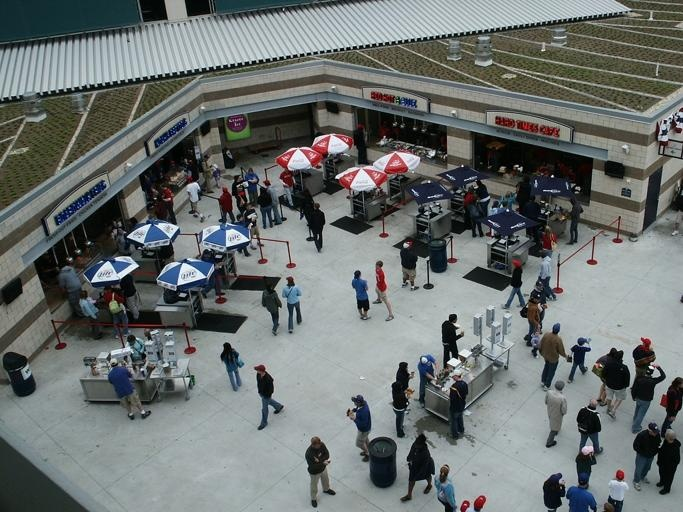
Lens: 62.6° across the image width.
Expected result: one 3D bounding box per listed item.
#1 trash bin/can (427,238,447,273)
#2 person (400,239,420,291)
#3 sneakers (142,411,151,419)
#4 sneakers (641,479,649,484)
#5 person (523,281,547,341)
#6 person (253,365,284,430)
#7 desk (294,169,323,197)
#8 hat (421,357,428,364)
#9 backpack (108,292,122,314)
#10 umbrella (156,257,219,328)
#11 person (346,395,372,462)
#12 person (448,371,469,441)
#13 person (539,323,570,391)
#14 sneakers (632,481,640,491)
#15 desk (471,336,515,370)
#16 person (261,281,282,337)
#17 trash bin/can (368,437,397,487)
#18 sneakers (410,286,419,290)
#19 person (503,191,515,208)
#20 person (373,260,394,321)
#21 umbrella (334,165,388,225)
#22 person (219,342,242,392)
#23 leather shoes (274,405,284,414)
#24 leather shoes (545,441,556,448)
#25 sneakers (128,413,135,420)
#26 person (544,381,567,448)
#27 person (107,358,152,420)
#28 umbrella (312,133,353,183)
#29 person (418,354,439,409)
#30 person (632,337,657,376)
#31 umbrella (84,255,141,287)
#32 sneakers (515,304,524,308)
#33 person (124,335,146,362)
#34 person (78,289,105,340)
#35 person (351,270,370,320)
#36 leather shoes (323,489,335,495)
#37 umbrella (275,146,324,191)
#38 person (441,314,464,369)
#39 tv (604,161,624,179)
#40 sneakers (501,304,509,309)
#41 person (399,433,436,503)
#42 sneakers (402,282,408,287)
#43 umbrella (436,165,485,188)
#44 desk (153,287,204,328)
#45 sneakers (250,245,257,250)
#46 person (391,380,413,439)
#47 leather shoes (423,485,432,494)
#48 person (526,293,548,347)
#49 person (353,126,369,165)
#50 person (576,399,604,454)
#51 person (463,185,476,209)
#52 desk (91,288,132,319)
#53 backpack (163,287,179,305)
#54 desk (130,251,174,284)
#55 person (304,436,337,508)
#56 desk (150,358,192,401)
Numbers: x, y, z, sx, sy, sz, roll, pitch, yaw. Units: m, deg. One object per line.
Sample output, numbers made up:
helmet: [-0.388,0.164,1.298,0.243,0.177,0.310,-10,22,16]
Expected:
trash bin/can: [3.886,0.022,22.913,0.929,1.407,0.903,-9,28,-7]
person: [2.628,0.348,21.953,0.650,1.973,0.709,-6,28,-6]
sneakers: [-6.241,5.041,17.996,0.144,0.134,0.315,28,46,32]
sneakers: [7.941,5.878,14.722,0.224,0.089,0.081,13,38,41]
person: [6.562,1.933,19.143,0.784,1.960,0.761,1,65,21]
person: [-2.253,4.089,17.134,0.839,2.123,1.069,-6,28,-6]
desk: [-1.832,-3.905,30.115,1.368,1.351,1.430,21,30,40]
hat: [2.417,3.071,16.553,0.190,0.141,0.178,26,72,-17]
backpack: [-8.309,1.796,20.640,0.455,0.706,0.724,-6,12,-16]
umbrella: [-5.673,0.705,20.648,1.924,0.687,1.225,-12,29,-18]
person: [0.479,4.947,15.842,0.705,2.048,0.813,-8,44,-3]
person: [3.300,4.232,16.055,0.507,2.042,0.662,3,29,11]
person: [6.309,3.116,17.051,0.725,2.210,0.487,6,29,15]
sneakers: [7.603,5.952,14.579,0.083,0.104,0.247,-7,15,4]
desk: [4.848,3.139,18.044,0.536,0.737,0.790,-33,45,-31]
person: [-2.508,1.741,20.513,0.640,2.170,0.952,-7,28,-8]
trash bin/can: [1.094,5.524,15.019,0.895,0.925,0.891,8,33,21]
sneakers: [2.880,1.241,22.239,0.279,0.113,0.113,-6,31,-5]
person: [7.457,-2.508,25.169,0.369,0.772,0.819,5,44,30]
person: [1.585,1.423,21.638,0.763,1.928,0.983,-18,56,-5]
umbrella: [1.008,-3.098,26.456,2.284,1.456,2.214,-4,44,3]
person: [-3.595,3.536,18.311,0.614,1.647,0.589,-23,29,-34]
leather shoes: [-1.925,4.766,17.555,0.181,0.146,0.359,16,36,36]
leather shoes: [5.875,5.254,15.826,0.325,0.133,0.116,-19,46,-11]
sneakers: [-6.675,5.127,17.972,0.116,0.106,0.265,-6,36,-26]
person: [5.878,4.265,15.568,0.537,2.141,0.778,9,30,21]
person: [-6.693,4.230,17.731,1.066,1.972,0.626,13,32,27]
umbrella: [-0.389,-5.493,29.643,1.704,1.133,1.633,7,47,7]
person: [2.559,3.774,16.971,0.494,1.786,0.615,1,28,6]
person: [8.747,3.174,16.392,0.612,1.497,0.579,-3,19,21]
umbrella: [-8.661,0.573,20.989,1.271,0.494,1.290,5,38,35]
sneakers: [6.577,1.840,20.843,0.288,0.114,0.104,4,47,20]
person: [-6.748,3.040,18.654,0.506,1.085,0.773,-15,30,-21]
person: [-9.454,2.114,21.311,0.557,2.079,1.015,-16,31,-24]
person: [0.706,1.377,20.510,0.569,2.159,0.413,-5,28,-3]
leather shoes: [-0.330,6.336,15.097,0.297,0.200,0.119,-6,47,2]
umbrella: [-2.057,-4.417,28.894,2.369,0.974,2.296,-6,36,-4]
person: [3.521,2.765,17.966,0.696,1.833,0.649,11,24,37]
tv: [11.385,-3.635,23.549,0.634,0.611,0.226,29,53,33]
sneakers: [6.014,1.881,20.811,0.208,0.115,0.212,-24,47,32]
person: [1.932,5.342,14.478,0.855,2.191,0.630,-4,28,-2]
sneakers: [2.503,1.131,22.414,0.104,0.119,0.261,9,36,22]
umbrella: [5.245,-3.632,25.332,1.301,0.541,1.262,-26,46,-24]
desk: [-6.203,1.907,21.535,1.383,1.329,1.789,5,43,6]
sneakers: [-4.044,-0.401,25.971,0.258,0.243,0.129,-5,63,0]
person: [1.736,4.294,16.313,0.501,1.866,0.841,0,28,5]
leather shoes: [2.261,6.190,14.882,0.115,0.200,0.281,24,59,31]
person: [6.435,2.173,18.680,0.690,1.647,0.637,-13,56,11]
person: [1.060,-6.250,31.559,0.746,2.206,1.231,-2,28,2]
person: [6.647,4.690,15.059,0.753,1.588,0.560,-1,18,1]
person: [5.655,-2.564,25.032,0.502,1.026,0.525,-8,28,-9]
desk: [-8.844,1.774,21.473,1.147,1.614,1.730,-4,1,-14]
backpack: [-6.488,1.511,21.625,0.500,0.511,0.620,5,17,0]
desk: [-8.085,0.404,24.506,1.484,1.464,1.145,4,-5,19]
person: [-0.611,5.475,14.673,0.740,2.180,0.663,-16,31,-23]
desk: [-5.523,3.954,18.802,1.436,1.827,1.221,-1,42,-11]
